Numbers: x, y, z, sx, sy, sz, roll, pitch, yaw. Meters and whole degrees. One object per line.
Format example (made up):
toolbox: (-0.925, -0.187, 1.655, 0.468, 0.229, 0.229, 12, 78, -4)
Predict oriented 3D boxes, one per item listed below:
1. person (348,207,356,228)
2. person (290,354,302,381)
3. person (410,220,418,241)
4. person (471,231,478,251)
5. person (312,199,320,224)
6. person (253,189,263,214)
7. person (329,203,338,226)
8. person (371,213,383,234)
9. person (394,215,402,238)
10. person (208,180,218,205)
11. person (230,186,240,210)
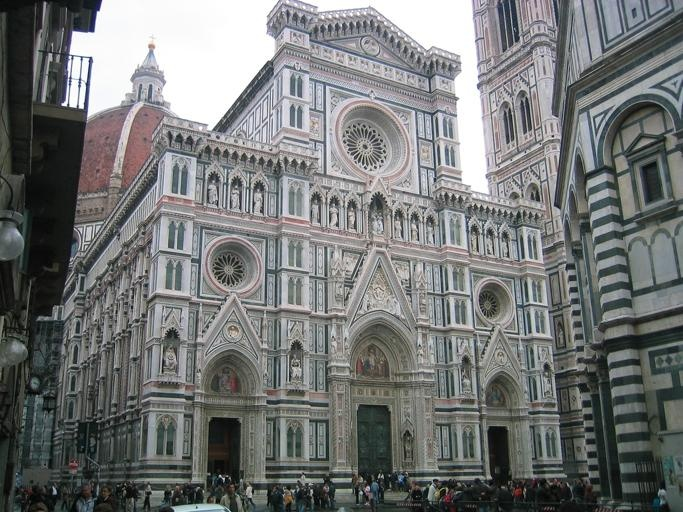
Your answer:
person: (0.712, -2.341, 42.622, 0.620, 1.651, 0.267, 14, -25, -34)
person: (-2.434, 6.233, 37.646, 0.653, 1.476, 0.181, 16, -26, -37)
person: (4.789, -1.509, 44.541, 0.659, 1.429, 0.191, 17, -27, -38)
person: (9.051, -0.919, 46.396, 0.630, 1.571, 0.165, 9, -23, -25)
person: (-1.529, -2.590, 41.497, 0.629, 1.543, 0.159, 14, -25, -34)
person: (-4.798, -3.081, 39.879, 0.615, 1.640, 0.159, 13, -25, -32)
person: (-0.434, -2.415, 41.994, 0.607, 1.642, 0.198, 16, -27, -37)
person: (2.325, -1.967, 43.380, 0.741, 1.742, 0.596, 0, -21, -1)
person: (3.680, -1.784, 43.968, 0.173, 1.636, 0.761, -18, -27, 39)
person: (-7.182, -3.485, 38.640, 0.594, 1.500, 0.301, 4, -21, -12)
person: (-6.012, -3.262, 39.284, 0.556, 1.556, 0.135, 12, -24, -30)
